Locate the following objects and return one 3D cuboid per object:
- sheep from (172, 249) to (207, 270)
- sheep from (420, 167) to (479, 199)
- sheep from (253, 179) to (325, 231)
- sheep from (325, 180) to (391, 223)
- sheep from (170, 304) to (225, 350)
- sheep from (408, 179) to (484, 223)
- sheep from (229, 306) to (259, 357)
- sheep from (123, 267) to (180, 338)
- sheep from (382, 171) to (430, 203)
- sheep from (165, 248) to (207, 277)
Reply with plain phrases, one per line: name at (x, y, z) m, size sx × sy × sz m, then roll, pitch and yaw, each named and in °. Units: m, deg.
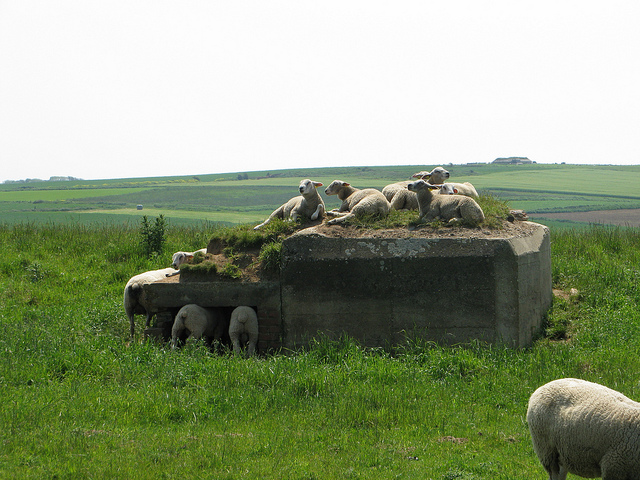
sheep at (-3.150, 0.485, 19.456) m, size 0.962 × 0.461 × 0.463 m, roll -4°, pitch -2°, yaw -39°
sheep at (3.317, -1.408, 19.541) m, size 1.415 × 0.851 × 0.725 m, roll 9°, pitch -2°, yaw -11°
sheep at (-0.517, -0.852, 18.671) m, size 0.983 × 1.046 × 1.586 m, roll 9°, pitch -20°, yaw -37°
sheep at (0.806, -0.924, 18.453) m, size 0.857 × 0.779 × 1.637 m, roll -6°, pitch 14°, yaw -44°
sheep at (-2.671, 1.926, 17.332) m, size 0.660 × 0.955 × 1.258 m, roll -12°, pitch -18°, yaw 33°
sheep at (2.867, -0.878, 17.664) m, size 1.850 × 1.077 × 0.793 m, roll 6°, pitch 4°, yaw 18°
sheep at (-1.640, 1.968, 16.897) m, size 0.619 × 1.104 × 0.410 m, roll 0°, pitch -14°, yaw -9°
sheep at (-4.280, 1.399, 19.230) m, size 0.731 × 1.671 × 2.770 m, roll -1°, pitch 6°, yaw -4°
sheep at (2.180, -1.338, 19.504) m, size 1.283 × 0.744 × 0.598 m, roll -18°, pitch 17°, yaw 0°
sheep at (-3.367, 0.561, 19.482) m, size 0.468 × 0.463 × 1.112 m, roll -6°, pitch 4°, yaw 36°
